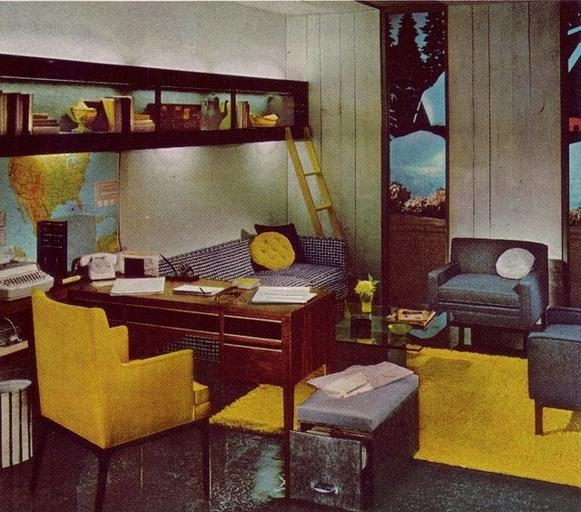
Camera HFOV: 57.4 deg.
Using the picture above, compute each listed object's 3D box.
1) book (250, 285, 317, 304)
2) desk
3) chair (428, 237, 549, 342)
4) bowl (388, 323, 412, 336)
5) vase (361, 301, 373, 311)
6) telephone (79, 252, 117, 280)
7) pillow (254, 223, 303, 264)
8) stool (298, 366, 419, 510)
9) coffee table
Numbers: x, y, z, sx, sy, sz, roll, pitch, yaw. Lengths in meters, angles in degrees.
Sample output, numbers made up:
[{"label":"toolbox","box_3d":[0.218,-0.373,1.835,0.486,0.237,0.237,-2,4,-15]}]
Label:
[{"label":"book","box_3d":[-0.033,0.217,3.029,0.352,0.053,0.312,-1,7,3]},{"label":"desk","box_3d":[-0.372,0.728,3.182,0.459,0.708,1.235,-19,-21,30]},{"label":"chair","box_3d":[1.885,0.346,5.087,0.946,0.933,0.737,4,11,38]},{"label":"bowl","box_3d":[0.842,0.557,4.079,0.170,0.073,0.159,-1,7,0]},{"label":"vase","box_3d":[0.654,0.438,4.600,0.092,0.105,0.095,1,1,21]},{"label":"telephone","box_3d":[-1.262,0.056,3.524,0.215,0.110,0.179,-5,16,-30]},{"label":"pillow","box_3d":[-0.114,-0.095,5.885,0.458,0.441,0.138,0,-29,-42]},{"label":"stool","box_3d":[0.360,0.903,2.751,0.373,0.398,0.695,0,2,27]},{"label":"coffee table","box_3d":[0.716,0.610,4.048,0.533,0.273,0.553,4,11,26]}]
